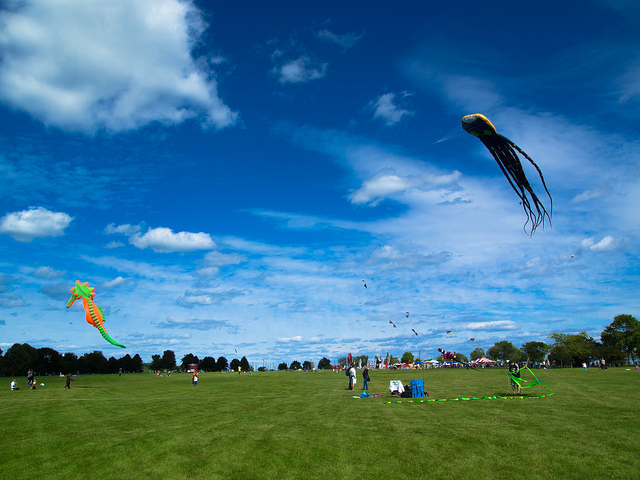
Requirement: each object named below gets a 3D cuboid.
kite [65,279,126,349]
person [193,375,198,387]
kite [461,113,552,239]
[{"bbox_3d":[-24.376,7.229,50.528,2.935,5.994,3.267,9,-23,-33],"label":"kite"},{"bbox_3d":[-15.557,17.512,59.232,0.319,1.458,1.084,3,-19,-18],"label":"person"},{"bbox_3d":[9.301,-4.144,23.916,1.772,5.166,2.349,11,-25,-37],"label":"kite"}]
